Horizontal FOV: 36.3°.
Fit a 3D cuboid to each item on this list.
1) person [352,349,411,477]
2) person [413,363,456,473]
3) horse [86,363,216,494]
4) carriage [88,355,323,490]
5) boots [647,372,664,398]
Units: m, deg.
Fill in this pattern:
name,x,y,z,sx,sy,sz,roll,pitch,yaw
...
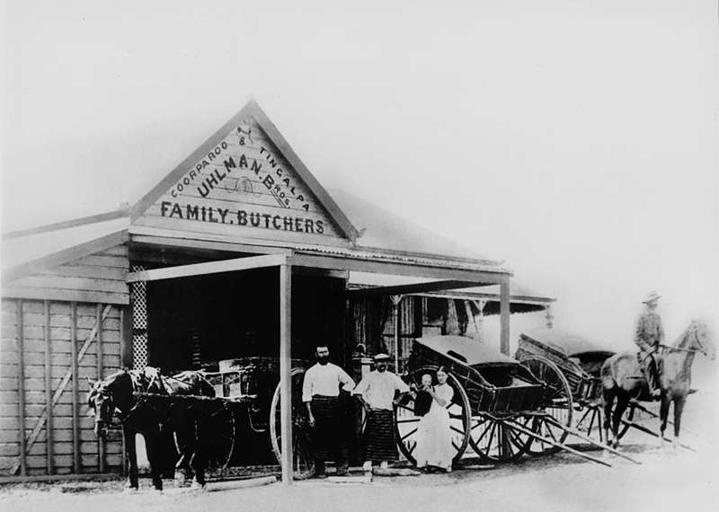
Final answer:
name,x,y,z,sx,sy,sz,roll,pitch,yaw
person,0.426,3.174,21.978,0.967,2.399,0.550,-2,-4,1
person,1.523,3.252,21.904,0.764,2.086,0.323,-2,-4,0
horse,-3.988,3.134,21.058,0.973,2.178,2.949,-3,-1,31
carriage,-3.638,3.385,21.057,0.965,2.157,3.945,-10,-12,37
boots,6.251,2.690,23.376,0.198,0.667,0.372,-6,-5,6
